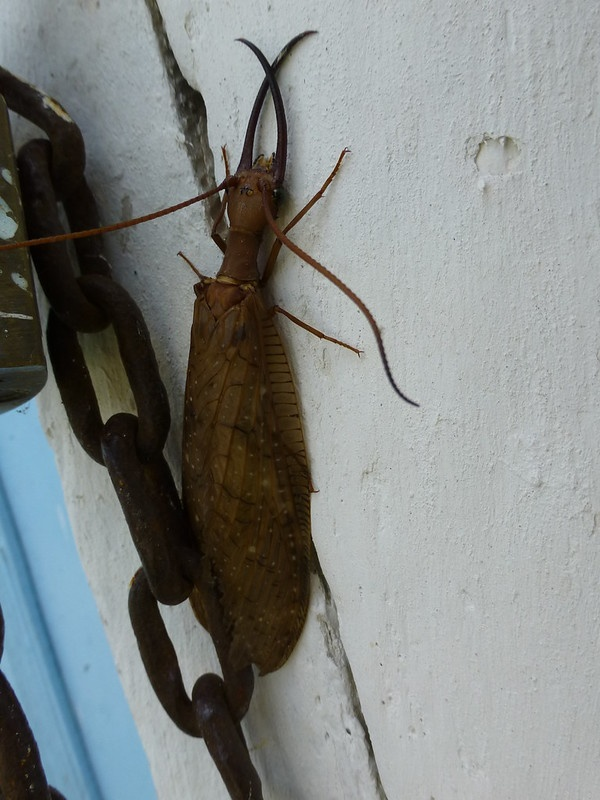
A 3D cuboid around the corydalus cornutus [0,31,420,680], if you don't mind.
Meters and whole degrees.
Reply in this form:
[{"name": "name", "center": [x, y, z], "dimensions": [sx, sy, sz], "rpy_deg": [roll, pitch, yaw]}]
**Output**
[{"name": "corydalus cornutus", "center": [-0.110, 0.020, 1.268], "dimensions": [0.149, 0.431, 0.715], "rpy_deg": [168, -82, -69]}]
